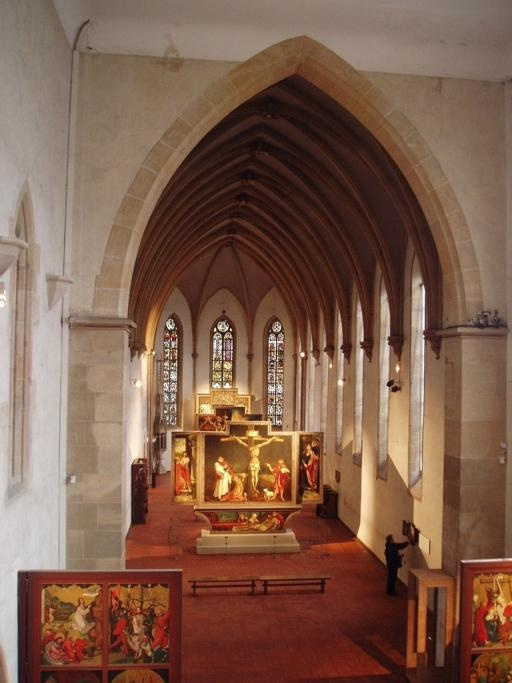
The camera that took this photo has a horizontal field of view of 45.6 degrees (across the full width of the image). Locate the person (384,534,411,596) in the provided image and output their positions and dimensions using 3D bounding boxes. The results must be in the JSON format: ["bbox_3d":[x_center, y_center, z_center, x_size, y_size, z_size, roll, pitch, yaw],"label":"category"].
[{"bbox_3d":[2.604,4.176,11.500,0.381,1.085,0.544,1,-3,7],"label":"person"}]

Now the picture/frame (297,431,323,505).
[{"bbox_3d":[1.151,2.783,13.509,0.548,1.612,0.074,3,-41,2],"label":"picture/frame"}]
